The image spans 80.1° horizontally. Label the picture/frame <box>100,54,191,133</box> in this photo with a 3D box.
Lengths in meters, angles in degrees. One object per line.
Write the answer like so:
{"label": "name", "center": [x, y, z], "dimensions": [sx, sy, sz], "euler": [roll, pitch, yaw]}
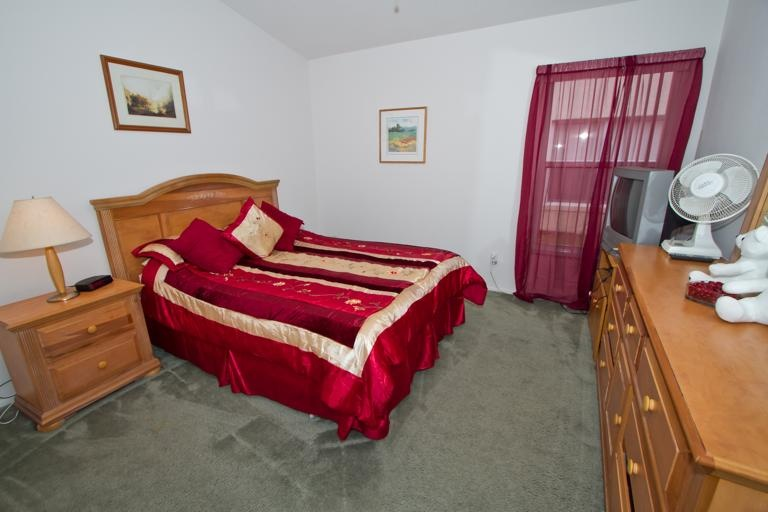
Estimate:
{"label": "picture/frame", "center": [-2.234, -1.510, 4.221], "dimensions": [0.054, 0.677, 0.776], "euler": [3, 12, 37]}

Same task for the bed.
{"label": "bed", "center": [-0.763, 0.142, 4.373], "dimensions": [2.960, 1.668, 2.056], "euler": [10, 21, 27]}

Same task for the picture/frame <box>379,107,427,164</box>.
{"label": "picture/frame", "center": [0.239, -1.466, 5.450], "dimensions": [0.666, 0.681, 0.045], "euler": [3, 8, 28]}

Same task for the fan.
{"label": "fan", "center": [2.338, -0.365, 3.362], "dimensions": [0.473, 0.709, 0.385], "euler": [24, 17, 32]}

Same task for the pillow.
{"label": "pillow", "center": [-1.519, -0.154, 4.310], "dimensions": [1.105, 0.441, 0.743], "euler": [-18, 49, -12]}
